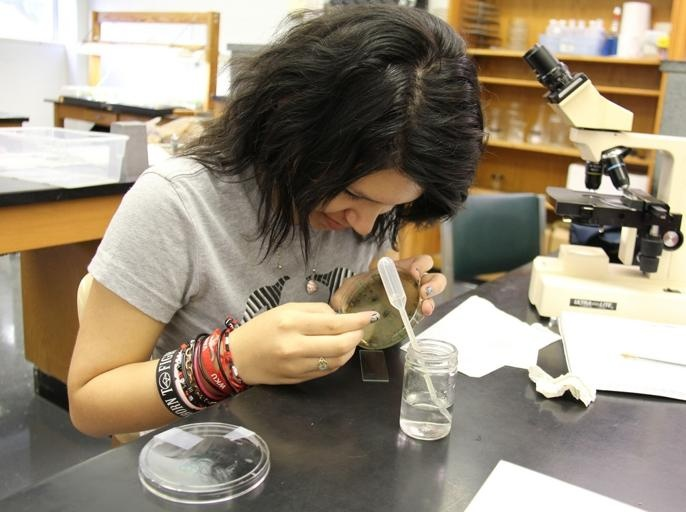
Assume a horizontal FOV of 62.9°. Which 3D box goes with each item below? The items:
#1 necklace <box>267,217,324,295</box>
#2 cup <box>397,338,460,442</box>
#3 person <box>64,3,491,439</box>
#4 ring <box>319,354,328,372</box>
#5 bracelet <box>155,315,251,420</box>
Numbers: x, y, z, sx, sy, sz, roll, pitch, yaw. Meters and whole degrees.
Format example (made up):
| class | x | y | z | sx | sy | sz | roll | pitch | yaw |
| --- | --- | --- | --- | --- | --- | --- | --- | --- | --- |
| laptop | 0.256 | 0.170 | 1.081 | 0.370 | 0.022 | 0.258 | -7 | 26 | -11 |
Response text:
| class | x | y | z | sx | sy | sz | roll | pitch | yaw |
| --- | --- | --- | --- | --- | --- | --- | --- | --- | --- |
| necklace | -0.125 | 0.000 | 1.394 | 0.170 | 0.161 | 0.040 | -5 | 18 | -37 |
| cup | 0.154 | 0.245 | 1.018 | 0.095 | 0.155 | 0.079 | 5 | 15 | 11 |
| person | -0.130 | -0.081 | 1.233 | 0.820 | 0.886 | 0.478 | 3 | 14 | 4 |
| ring | -0.037 | 0.208 | 1.082 | 0.012 | 0.036 | 0.018 | 12 | 17 | 33 |
| bracelet | -0.281 | 0.232 | 1.186 | 0.179 | 0.141 | 0.188 | -22 | 52 | 9 |
